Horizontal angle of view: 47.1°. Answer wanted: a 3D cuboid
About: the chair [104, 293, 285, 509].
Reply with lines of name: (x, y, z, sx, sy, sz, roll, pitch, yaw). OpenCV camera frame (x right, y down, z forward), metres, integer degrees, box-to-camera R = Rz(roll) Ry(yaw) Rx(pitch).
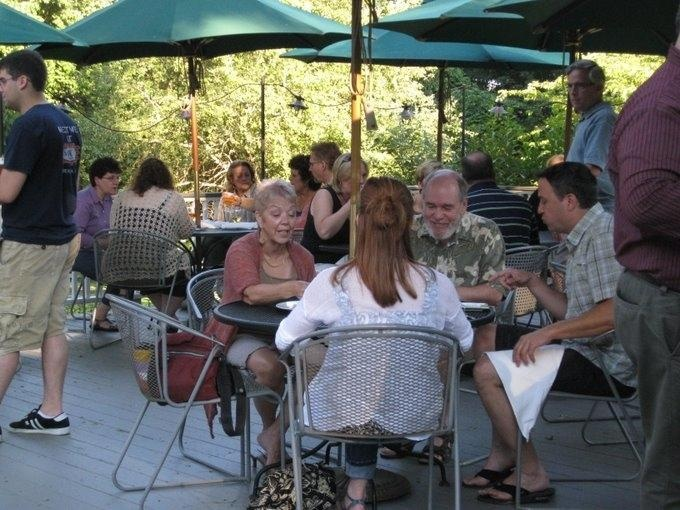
chair: (-0.725, 0.662, 4.129, 0.936, 1.389, 0.907, -4, 9, -28)

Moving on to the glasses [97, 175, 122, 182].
glasses: (-2.004, -0.664, 6.742, 0.106, 0.035, 0.106, -5, 1, 39)

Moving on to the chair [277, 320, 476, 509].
chair: (0.148, 0.595, 3.473, 0.825, 1.088, 0.695, -1, 12, -2)

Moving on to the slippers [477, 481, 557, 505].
slippers: (0.883, 1.185, 3.834, 0.306, 0.080, 0.142, 2, 2, -3)

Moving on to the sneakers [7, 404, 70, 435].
sneakers: (-1.807, 0.981, 4.660, 0.382, 0.182, 0.136, 4, -3, 2)

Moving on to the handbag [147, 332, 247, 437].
handbag: (-0.664, 0.588, 3.702, 0.400, 0.560, 0.197, 9, -15, -13)

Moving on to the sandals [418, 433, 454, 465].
sandals: (0.464, 1.052, 4.223, 0.258, 0.183, 0.144, 10, -12, -31)

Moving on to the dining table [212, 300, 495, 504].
dining table: (-0.151, 0.667, 3.661, 1.058, 0.787, 1.105, 1, 3, 15)

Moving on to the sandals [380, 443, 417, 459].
sandals: (0.320, 1.088, 4.335, 0.135, 0.052, 0.113, 1, 2, 0)
